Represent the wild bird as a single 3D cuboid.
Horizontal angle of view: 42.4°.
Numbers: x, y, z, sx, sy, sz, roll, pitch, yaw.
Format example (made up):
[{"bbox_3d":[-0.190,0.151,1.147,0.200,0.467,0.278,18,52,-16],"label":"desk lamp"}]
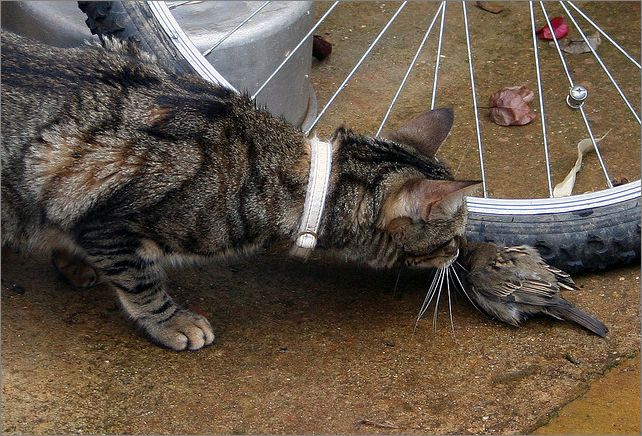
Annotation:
[{"bbox_3d":[0.908,0.305,3.962,0.796,0.254,0.320,25,53,30],"label":"wild bird"}]
